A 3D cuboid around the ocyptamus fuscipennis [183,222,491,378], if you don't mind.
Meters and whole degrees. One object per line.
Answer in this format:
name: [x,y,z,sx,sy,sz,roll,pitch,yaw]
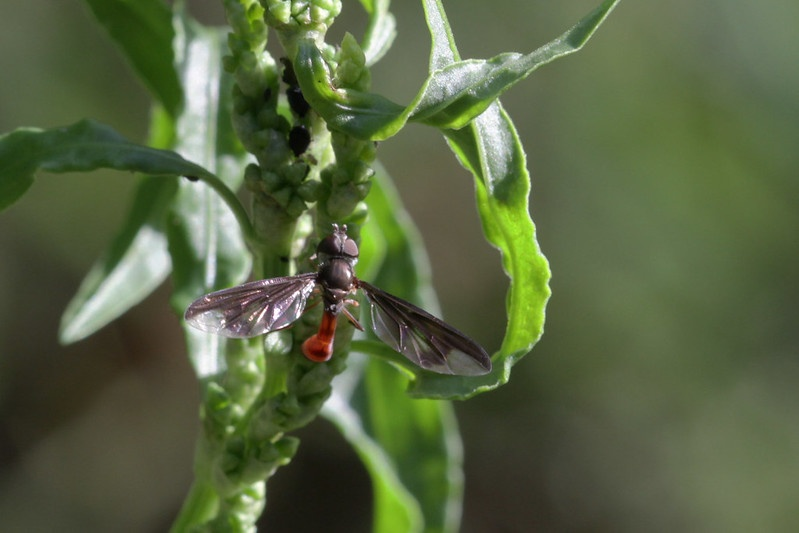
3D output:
ocyptamus fuscipennis: [-0.074,0.055,1.122,0.338,0.216,0.105,8,-41,-6]
